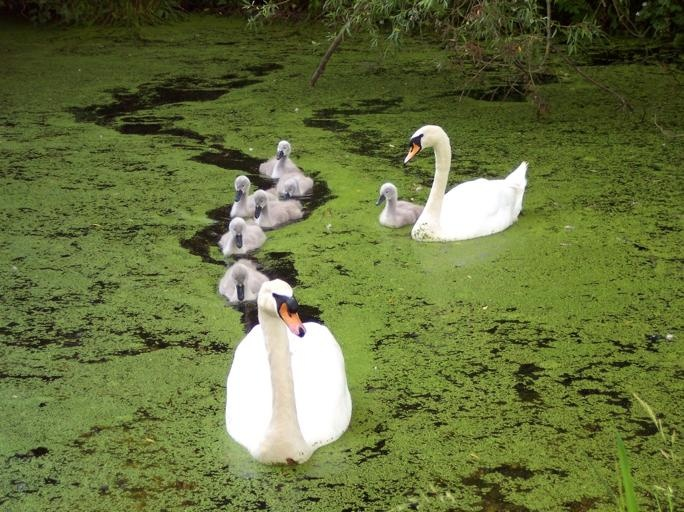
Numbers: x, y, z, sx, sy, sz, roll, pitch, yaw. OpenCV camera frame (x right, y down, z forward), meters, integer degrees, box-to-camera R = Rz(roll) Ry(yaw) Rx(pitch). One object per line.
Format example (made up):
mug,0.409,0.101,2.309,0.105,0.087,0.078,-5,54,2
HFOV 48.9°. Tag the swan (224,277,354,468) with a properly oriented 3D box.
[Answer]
swan,-0.522,0.695,5.179,0.973,1.136,1.225,-4,40,3

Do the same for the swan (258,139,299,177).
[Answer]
swan,-0.745,-1.189,9.150,0.334,0.490,0.529,-16,32,-38

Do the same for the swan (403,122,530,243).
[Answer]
swan,1.312,-0.821,7.895,0.819,1.119,1.838,17,27,40

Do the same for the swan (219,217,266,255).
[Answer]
swan,-0.965,-0.225,7.420,0.475,0.429,0.476,2,24,-8

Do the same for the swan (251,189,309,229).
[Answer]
swan,-0.665,-0.537,8.098,0.367,0.421,0.659,25,30,36

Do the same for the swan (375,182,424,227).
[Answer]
swan,0.501,-0.602,8.109,0.726,0.433,0.641,-2,21,-5
